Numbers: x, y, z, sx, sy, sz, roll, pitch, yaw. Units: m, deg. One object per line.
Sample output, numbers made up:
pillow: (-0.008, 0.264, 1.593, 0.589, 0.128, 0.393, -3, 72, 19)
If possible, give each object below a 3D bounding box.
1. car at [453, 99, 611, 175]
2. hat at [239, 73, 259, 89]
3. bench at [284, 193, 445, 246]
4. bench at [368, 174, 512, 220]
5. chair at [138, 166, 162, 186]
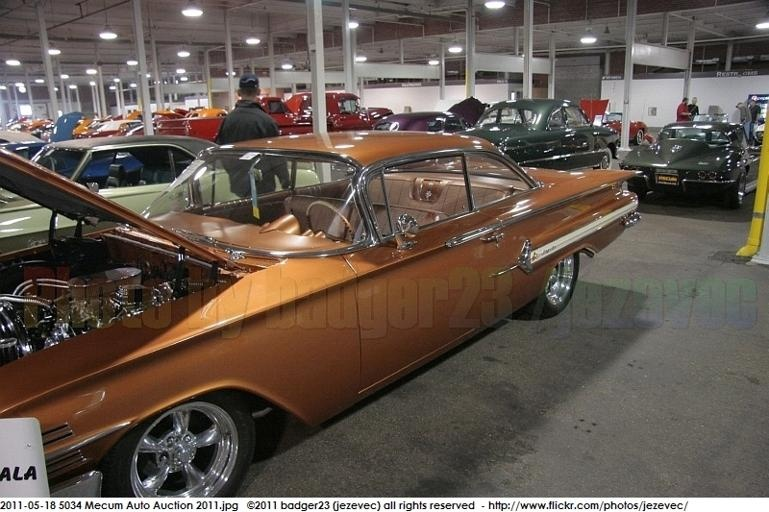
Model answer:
car: (3.615, -2.821, 10.454, 4.388, 1.294, 1.907, -15, 24, -39)
hat: (-1.678, -2.120, 5.494, 0.260, 0.157, 0.325, -8, 28, -8)
bench: (-0.034, -0.303, 3.244, 0.608, 0.258, 0.862, 12, 19, 42)
bench: (0.402, -0.470, 3.843, 1.611, 0.349, 0.185, 9, 12, 20)
chair: (-3.250, -1.073, 6.201, 0.342, 0.289, 0.315, -2, 6, -44)
